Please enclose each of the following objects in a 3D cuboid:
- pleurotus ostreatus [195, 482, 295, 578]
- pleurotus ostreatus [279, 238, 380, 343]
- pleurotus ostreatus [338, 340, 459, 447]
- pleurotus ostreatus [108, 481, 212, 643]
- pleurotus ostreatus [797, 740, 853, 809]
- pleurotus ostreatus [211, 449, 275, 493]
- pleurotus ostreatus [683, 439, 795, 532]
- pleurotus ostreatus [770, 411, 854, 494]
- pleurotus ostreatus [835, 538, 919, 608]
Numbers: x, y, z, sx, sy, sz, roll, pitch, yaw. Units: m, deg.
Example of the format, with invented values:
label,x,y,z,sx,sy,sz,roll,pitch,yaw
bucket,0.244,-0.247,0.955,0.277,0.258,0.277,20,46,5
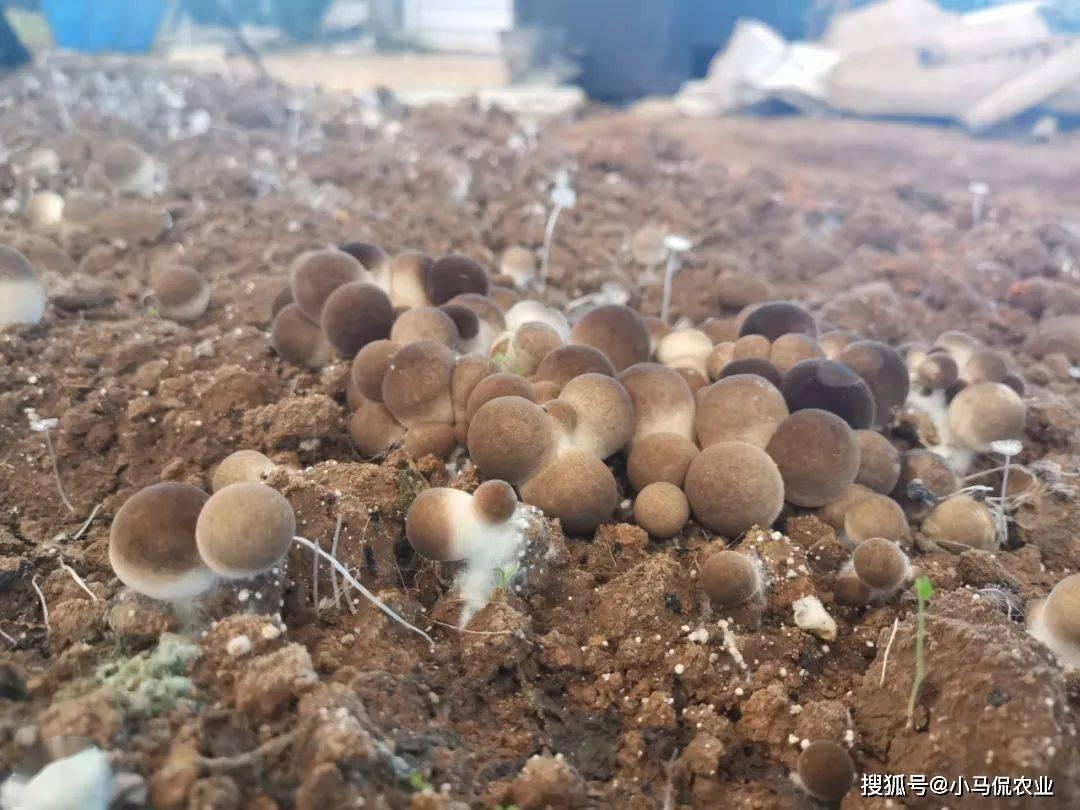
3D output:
label,x,y,z,sx,sy,sz,roll,pitch,yaw
pleurotus ostreatus,-0.730,0.321,2.683,0.233,0.171,0.183,-6,55,-11
pleurotus ostreatus,-0.658,-0.376,3.277,0.179,0.258,0.218,2,93,0
pleurotus ostreatus,-0.423,-0.015,3.234,0.419,0.467,0.194,-11,79,10
pleurotus ostreatus,-0.930,0.404,2.673,0.194,0.281,0.199,-25,26,10
pleurotus ostreatus,0.659,0.855,2.521,0.133,0.079,0.149,23,92,12
pleurotus ostreatus,-0.808,0.179,2.958,0.137,0.089,0.122,-13,24,-5
pleurotus ostreatus,0.526,0.227,2.917,0.220,0.186,0.249,-21,64,15
pleurotus ostreatus,0.745,0.145,3.036,0.191,0.235,0.250,-1,34,0
pleurotus ostreatus,0.883,0.414,2.815,0.141,0.127,0.112,-2,13,34
